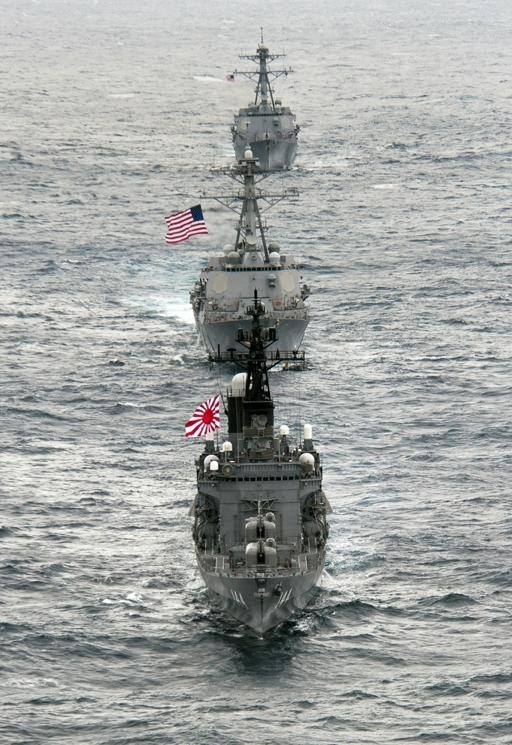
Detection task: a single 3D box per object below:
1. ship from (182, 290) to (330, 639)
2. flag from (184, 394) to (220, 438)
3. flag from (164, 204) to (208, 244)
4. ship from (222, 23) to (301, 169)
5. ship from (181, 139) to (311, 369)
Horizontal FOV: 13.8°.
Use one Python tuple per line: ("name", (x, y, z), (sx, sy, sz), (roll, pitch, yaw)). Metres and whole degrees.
("ship", (0.056, 3.188, 74.077), (4.709, 9.897, 7.139), (0, 15, -2))
("flag", (-2.067, 1.777, 80.946), (1.473, 1.766, 0.251), (-8, -10, 6))
("flag", (-3.430, -7.027, 101.428), (1.334, 1.724, 2.383), (8, 16, 27))
("ship", (0.600, -19.530, 153.762), (4.231, 9.581, 14.133), (-1, -4, -2))
("ship", (-0.280, -4.806, 104.067), (4.268, 8.754, 13.153), (0, 18, 0))
